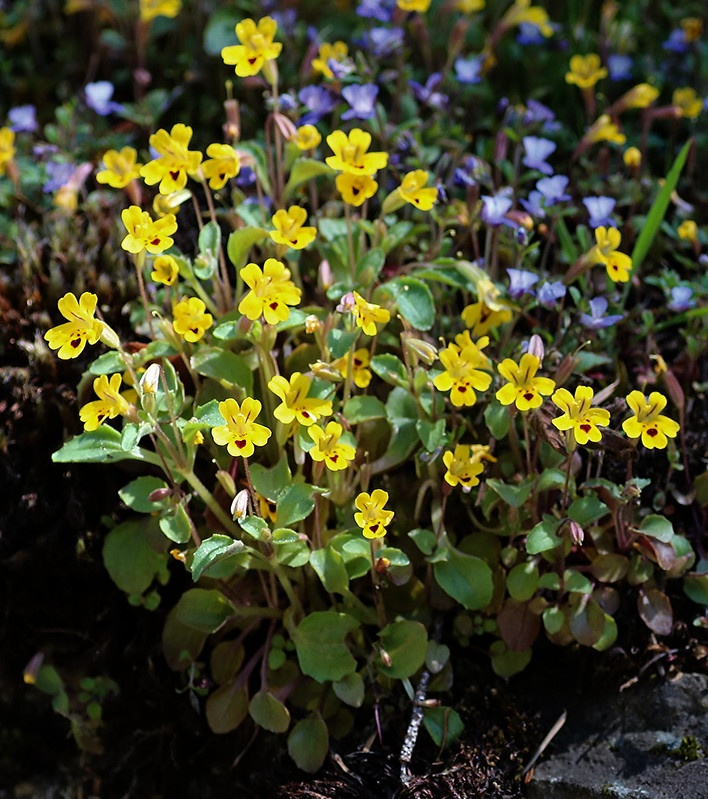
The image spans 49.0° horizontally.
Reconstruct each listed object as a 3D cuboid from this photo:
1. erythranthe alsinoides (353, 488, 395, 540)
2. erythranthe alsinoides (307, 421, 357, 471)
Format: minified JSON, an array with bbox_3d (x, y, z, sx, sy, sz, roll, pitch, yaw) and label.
[{"bbox_3d":[0.039,0.226,1.538,0.073,0.085,0.079,10,45,3],"label":"erythranthe alsinoides"},{"bbox_3d":[-0.043,0.093,1.542,0.085,0.074,0.092,-9,46,-16],"label":"erythranthe alsinoides"}]
